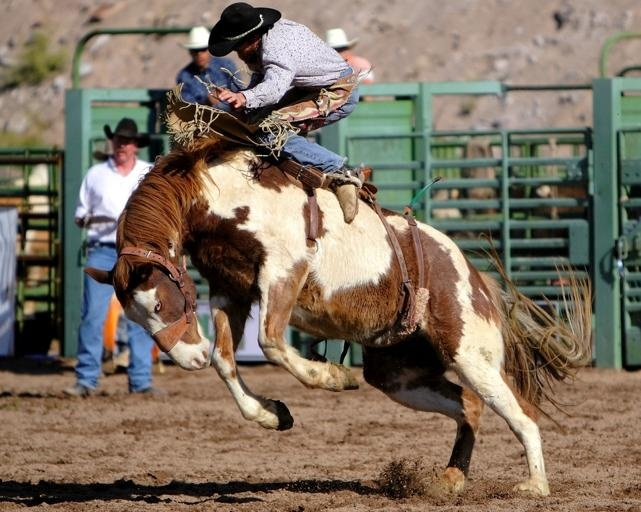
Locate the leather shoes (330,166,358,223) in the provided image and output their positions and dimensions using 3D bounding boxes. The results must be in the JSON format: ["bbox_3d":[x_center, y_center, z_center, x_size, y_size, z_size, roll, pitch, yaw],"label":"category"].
[{"bbox_3d":[0.306,-0.688,17.172,0.215,0.638,0.257,-8,4,20],"label":"leather shoes"}]

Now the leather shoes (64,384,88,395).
[{"bbox_3d":[-3.118,1.623,19.779,0.271,0.130,0.122,12,0,-16],"label":"leather shoes"}]
